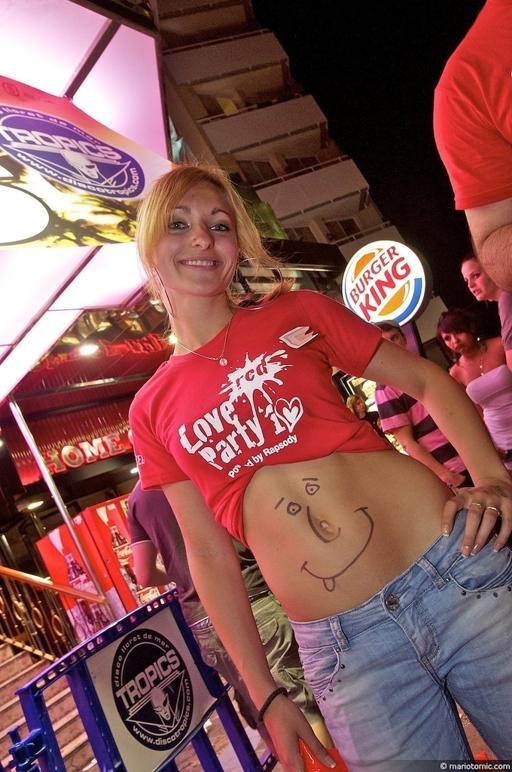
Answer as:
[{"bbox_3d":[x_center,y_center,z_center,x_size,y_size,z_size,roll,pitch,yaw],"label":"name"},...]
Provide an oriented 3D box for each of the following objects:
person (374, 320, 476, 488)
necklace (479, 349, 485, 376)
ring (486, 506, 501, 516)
[{"bbox_3d":[1.074,0.190,3.886,0.519,1.469,0.419,-13,22,14],"label":"person"},{"bbox_3d":[1.821,-0.172,4.455,0.037,0.168,0.038,0,-9,32],"label":"necklace"},{"bbox_3d":[0.560,0.293,1.303,0.028,0.030,0.011,-25,-13,-40],"label":"ring"}]
